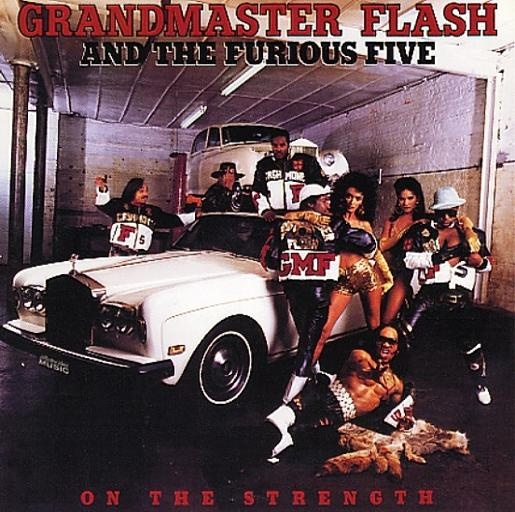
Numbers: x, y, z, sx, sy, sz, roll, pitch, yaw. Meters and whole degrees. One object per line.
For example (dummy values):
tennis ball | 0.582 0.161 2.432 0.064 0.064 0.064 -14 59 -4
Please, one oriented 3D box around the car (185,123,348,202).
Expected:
car | -0.102 -1.346 6.953 1.317 0.804 2.101 -6 8 -38

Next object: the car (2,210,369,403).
car | -0.735 0.311 3.648 1.692 1.314 1.392 -2 8 -41

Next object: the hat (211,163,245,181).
hat | -0.396 -1.095 6.077 0.355 0.126 0.379 4 -5 -34

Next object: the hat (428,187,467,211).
hat | 1.593 -0.482 4.012 0.264 0.117 0.224 -16 15 2

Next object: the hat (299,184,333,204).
hat | 0.427 -0.445 3.442 0.242 0.133 0.153 2 6 -11

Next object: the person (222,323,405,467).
person | 0.484 0.999 3.460 1.178 0.402 0.587 -28 42 -23

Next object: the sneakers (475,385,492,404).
sneakers | 1.795 1.101 3.835 0.117 0.144 0.043 -4 -14 2

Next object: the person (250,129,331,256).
person | 0.307 -0.488 4.819 0.813 1.391 0.449 -4 25 3
